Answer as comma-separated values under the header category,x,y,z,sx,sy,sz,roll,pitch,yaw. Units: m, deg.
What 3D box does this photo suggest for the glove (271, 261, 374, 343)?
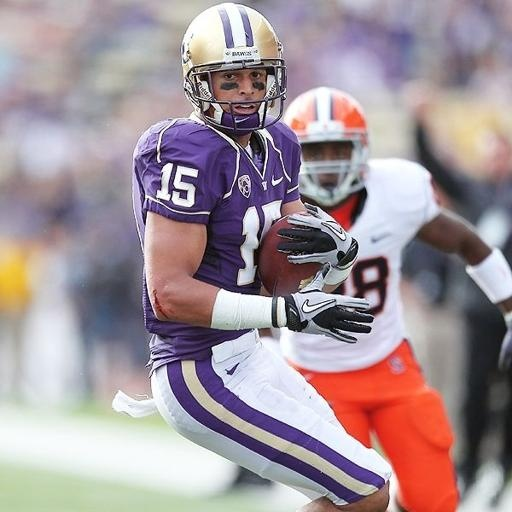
category,x,y,z,sx,sy,sz,roll,pitch,yaw
glove,0.175,0.141,1.906,0.231,0.082,0.145,5,59,-24

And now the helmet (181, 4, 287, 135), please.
category,x,y,z,sx,sy,sz,roll,pitch,yaw
helmet,-0.098,-0.498,2.009,0.279,0.286,0.346,-5,25,-15
